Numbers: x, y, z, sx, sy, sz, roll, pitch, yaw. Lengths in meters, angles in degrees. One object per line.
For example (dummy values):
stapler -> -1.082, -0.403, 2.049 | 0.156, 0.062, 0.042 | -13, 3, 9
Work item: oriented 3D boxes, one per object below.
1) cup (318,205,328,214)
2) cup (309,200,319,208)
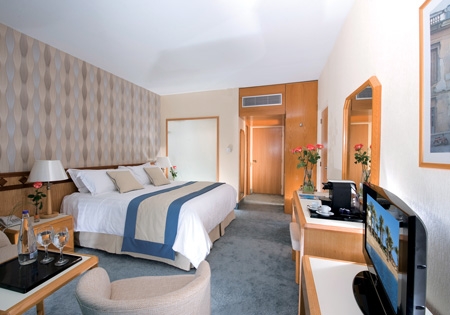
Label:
cup -> 1.046, 0.554, 3.225 | 0.079, 0.062, 0.054 | 2, -9, 6
cup -> 1.005, 0.512, 3.381 | 0.084, 0.069, 0.089 | -3, 1, 0
